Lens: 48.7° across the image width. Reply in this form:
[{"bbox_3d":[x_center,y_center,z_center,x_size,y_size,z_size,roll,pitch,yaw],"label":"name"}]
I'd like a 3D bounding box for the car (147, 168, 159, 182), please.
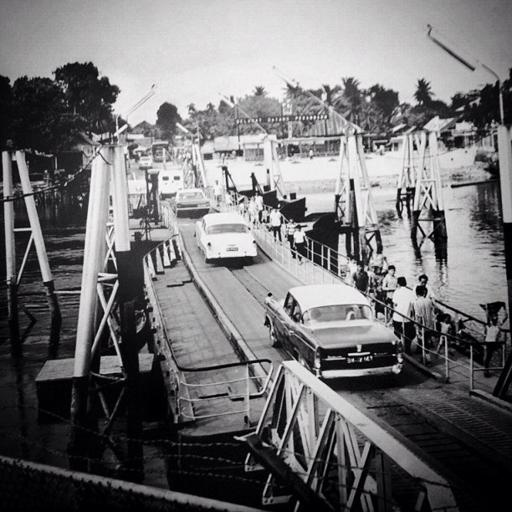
[{"bbox_3d":[-12.379,-9.631,67.561,1.172,1.451,6.855,-3,9,-8],"label":"car"}]

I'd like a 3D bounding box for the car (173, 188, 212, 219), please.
[{"bbox_3d":[-3.822,-3.106,33.828,2.001,1.712,2.022,-3,8,1],"label":"car"}]

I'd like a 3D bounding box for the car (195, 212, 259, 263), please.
[{"bbox_3d":[-1.032,-0.723,20.990,2.012,1.585,1.300,-2,7,3],"label":"car"}]

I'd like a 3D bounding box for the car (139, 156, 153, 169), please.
[{"bbox_3d":[-14.939,-12.623,76.061,1.248,1.384,3.873,-3,32,-7],"label":"car"}]

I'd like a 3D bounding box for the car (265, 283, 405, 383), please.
[{"bbox_3d":[1.355,1.674,11.245,1.115,1.107,2.835,-2,13,-10],"label":"car"}]

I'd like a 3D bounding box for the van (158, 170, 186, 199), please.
[{"bbox_3d":[-7.625,-5.913,51.120,2.303,3.319,4.662,-1,16,-6],"label":"van"}]
